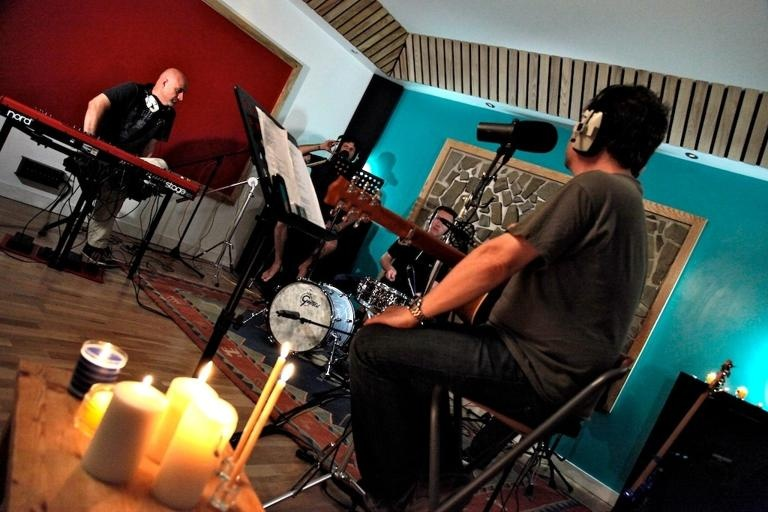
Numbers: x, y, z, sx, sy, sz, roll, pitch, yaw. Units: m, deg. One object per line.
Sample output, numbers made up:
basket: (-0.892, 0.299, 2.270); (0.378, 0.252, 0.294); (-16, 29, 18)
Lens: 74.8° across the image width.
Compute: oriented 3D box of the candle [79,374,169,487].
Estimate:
candle: (-0.919, 0.633, 1.769); (0.227, 0.389, 0.223); (27, -5, -21)

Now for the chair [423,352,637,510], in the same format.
chair: (0.556, 0.767, 2.232); (0.665, 0.776, 0.361); (24, 0, -23)

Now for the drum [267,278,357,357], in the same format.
drum: (-0.667, 0.528, 4.485); (0.701, 0.680, 0.498); (9, -7, 14)

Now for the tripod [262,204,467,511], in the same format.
tripod: (0.190, 0.371, 4.543); (1.646, 1.473, 1.693); (27, -32, 40)

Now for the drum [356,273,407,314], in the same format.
drum: (-0.049, 0.303, 4.321); (0.369, 0.197, 0.535); (5, 6, 26)

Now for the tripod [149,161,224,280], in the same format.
tripod: (-2.295, -0.411, 6.024); (0.622, 0.684, 1.210); (37, -47, -11)

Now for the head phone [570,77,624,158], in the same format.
head phone: (1.028, -0.648, 2.434); (0.133, 0.344, 0.238); (35, -1, -33)

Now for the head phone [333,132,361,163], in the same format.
head phone: (-0.493, -1.380, 6.594); (0.387, 0.172, 0.574); (34, 13, 8)

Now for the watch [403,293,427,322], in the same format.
watch: (0.153, 0.245, 2.366); (0.097, 0.106, 0.106); (-11, -10, -2)

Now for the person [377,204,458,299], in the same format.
person: (0.312, -0.100, 5.093); (0.541, 1.143, 0.156); (21, -25, 17)

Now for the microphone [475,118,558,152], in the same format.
microphone: (1.042, -0.960, 3.963); (0.602, 0.273, 0.262); (5, 22, 18)
